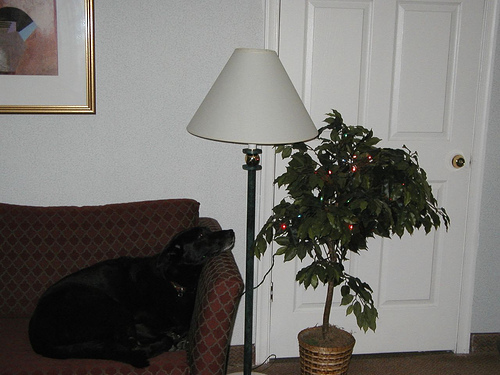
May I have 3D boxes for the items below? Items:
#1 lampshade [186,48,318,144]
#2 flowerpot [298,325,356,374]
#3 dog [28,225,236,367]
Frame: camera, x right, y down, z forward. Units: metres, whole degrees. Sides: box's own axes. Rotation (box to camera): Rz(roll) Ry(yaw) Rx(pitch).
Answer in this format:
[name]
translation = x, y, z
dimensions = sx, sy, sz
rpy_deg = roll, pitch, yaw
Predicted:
[lampshade]
translation = 0.003, -0.381, 2.319
dimensions = 0.639, 0.533, 0.660
rpy_deg = 1, 6, -14
[flowerpot]
translation = 0.380, 0.835, 2.453
dimensions = 0.240, 0.239, 0.275
rpy_deg = 2, 4, 5
[dog]
translation = -0.568, 0.496, 2.348
dimensions = 0.788, 0.536, 0.532
rpy_deg = -1, -9, -10
